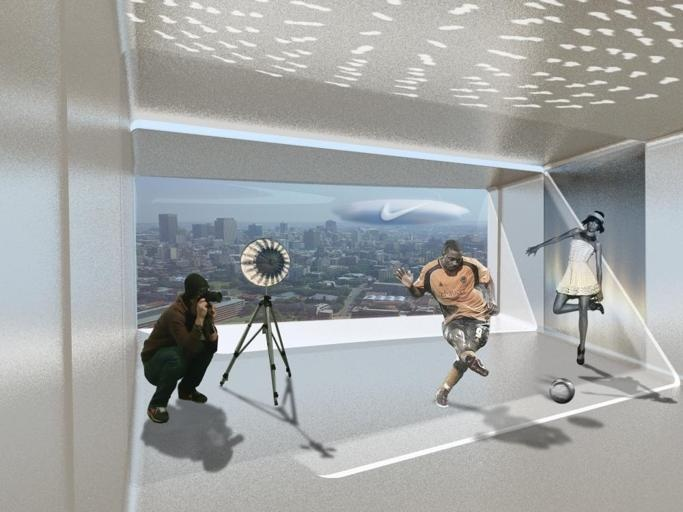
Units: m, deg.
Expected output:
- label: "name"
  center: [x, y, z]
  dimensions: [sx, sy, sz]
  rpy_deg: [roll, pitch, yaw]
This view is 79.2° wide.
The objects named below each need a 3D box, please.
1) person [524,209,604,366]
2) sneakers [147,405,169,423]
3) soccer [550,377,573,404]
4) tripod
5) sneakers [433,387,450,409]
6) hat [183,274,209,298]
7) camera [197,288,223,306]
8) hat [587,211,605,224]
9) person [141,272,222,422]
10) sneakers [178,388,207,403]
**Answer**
- label: "person"
  center: [3.113, 0.354, 5.423]
  dimensions: [0.743, 1.880, 1.334]
  rpy_deg: [1, 1, 12]
- label: "sneakers"
  center: [-1.429, 1.219, 3.201]
  dimensions: [0.103, 0.090, 0.198]
  rpy_deg: [12, -13, -39]
- label: "soccer"
  center: [1.978, 1.200, 3.701]
  dimensions: [0.172, 0.209, 0.189]
  rpy_deg: [1, 2, 32]
- label: "tripod"
  center: [-0.683, 0.818, 3.984]
  dimensions: [0.744, 0.939, 0.642]
  rpy_deg: [5, 4, 41]
- label: "sneakers"
  center: [0.896, 1.230, 3.698]
  dimensions: [0.131, 0.182, 0.194]
  rpy_deg: [1, 1, 13]
- label: "hat"
  center: [-1.141, 0.234, 3.309]
  dimensions: [0.214, 0.190, 0.164]
  rpy_deg: [-2, 7, -11]
- label: "camera"
  center: [-1.011, 0.311, 3.205]
  dimensions: [0.130, 0.075, 0.118]
  rpy_deg: [-3, -11, 18]
- label: "hat"
  center: [3.226, -0.497, 5.228]
  dimensions: [0.166, 0.156, 0.161]
  rpy_deg: [0, 1, -25]
- label: "person"
  center: [-1.222, 0.712, 3.329]
  dimensions: [0.713, 1.156, 0.595]
  rpy_deg: [2, 2, 39]
- label: "sneakers"
  center: [-1.332, 1.238, 3.677]
  dimensions: [0.226, 0.089, 0.114]
  rpy_deg: [1, 1, 11]
